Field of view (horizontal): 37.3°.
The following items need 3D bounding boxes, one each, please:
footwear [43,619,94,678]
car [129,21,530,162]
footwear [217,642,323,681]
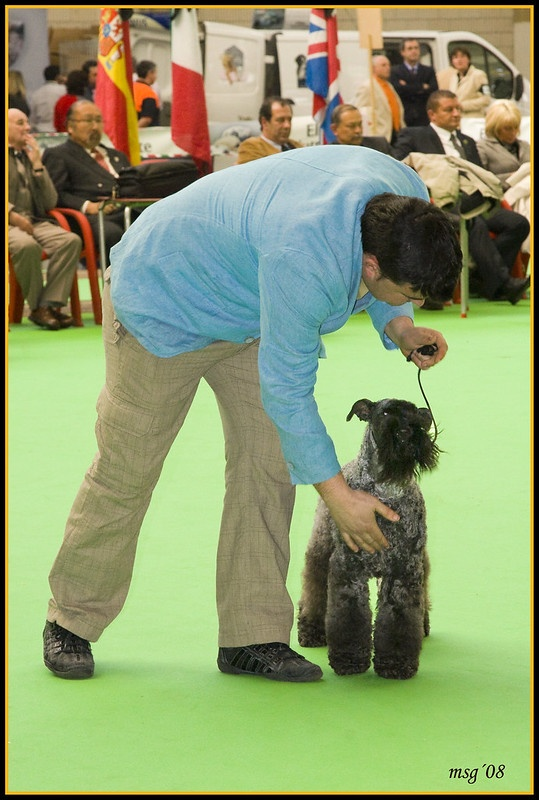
[{"bbox_3d":[-0.687,0.853,2.742,0.102,0.105,0.259,4,5,-34],"label":"footwear"},{"bbox_3d":[1.382,-5.758,14.431,6.972,2.986,3.124,-4,22,-7],"label":"car"},{"bbox_3d":[-0.010,0.862,2.740,0.385,0.144,0.126,-1,5,20],"label":"footwear"}]
